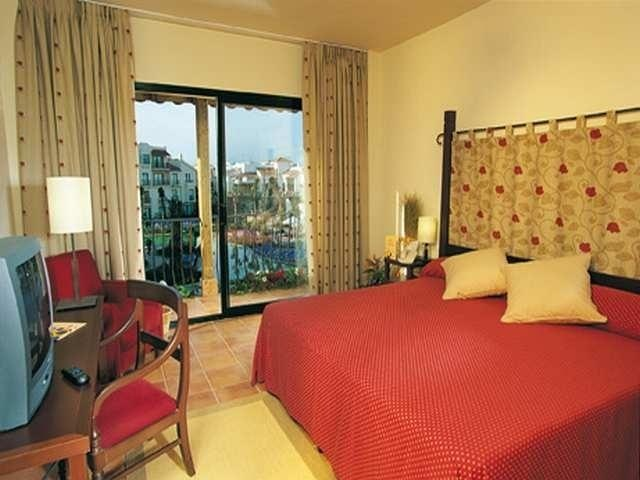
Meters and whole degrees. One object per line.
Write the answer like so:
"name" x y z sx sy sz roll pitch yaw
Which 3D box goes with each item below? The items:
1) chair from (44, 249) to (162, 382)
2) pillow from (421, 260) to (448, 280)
"chair" -2.091 0.683 4.250 0.736 1.223 1.086 -14 5 -10
"pillow" 1.113 0.286 4.387 0.176 0.059 0.139 -23 21 -39
